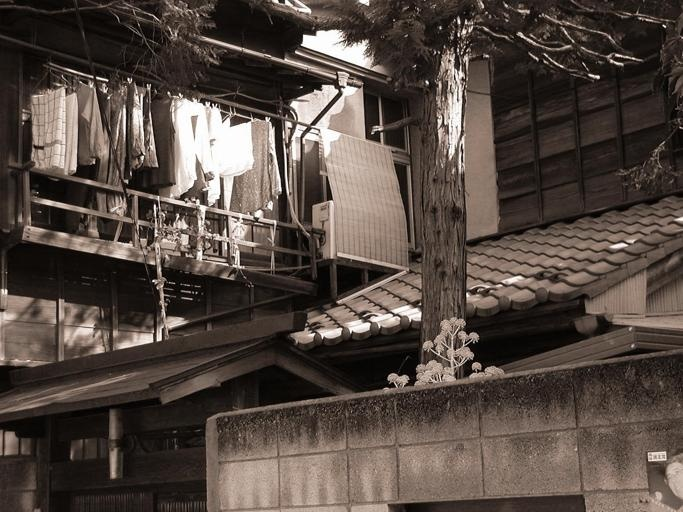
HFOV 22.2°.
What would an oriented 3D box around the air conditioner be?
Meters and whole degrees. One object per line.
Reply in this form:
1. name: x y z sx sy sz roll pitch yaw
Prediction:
1. air conditioner: 0.238 -0.286 24.941 1.217 1.012 0.727 11 -19 -39
